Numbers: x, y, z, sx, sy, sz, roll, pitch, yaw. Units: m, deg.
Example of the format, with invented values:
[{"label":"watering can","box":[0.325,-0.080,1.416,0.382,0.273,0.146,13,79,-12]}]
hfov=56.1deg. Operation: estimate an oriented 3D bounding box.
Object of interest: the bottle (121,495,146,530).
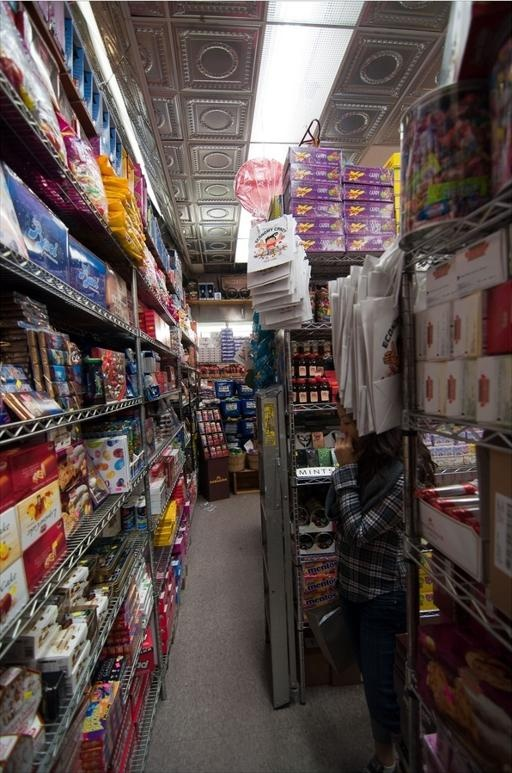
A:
[{"label":"bottle","box":[-0.517,0.535,2.113,0.127,0.136,0.130,0,1,6]}]
